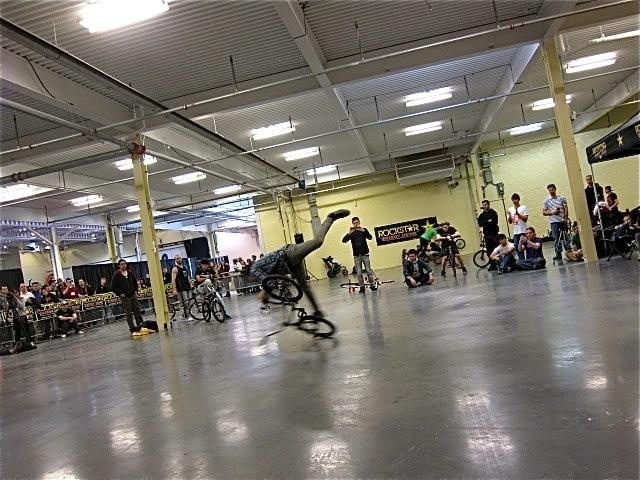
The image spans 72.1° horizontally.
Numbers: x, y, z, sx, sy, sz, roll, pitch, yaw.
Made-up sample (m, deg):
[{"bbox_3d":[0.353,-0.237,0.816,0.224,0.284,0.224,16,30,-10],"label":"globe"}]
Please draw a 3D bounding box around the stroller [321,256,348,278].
[{"bbox_3d":[0.638,1.376,22.311,1.443,0.824,0.794,-2,1,0],"label":"stroller"}]

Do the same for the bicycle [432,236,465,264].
[{"bbox_3d":[5.864,0.547,20.180,1.520,1.387,2.316,-3,1,3],"label":"bicycle"}]

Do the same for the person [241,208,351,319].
[{"bbox_3d":[-0.343,0.464,6.696,1.550,1.643,0.455,-11,1,22],"label":"person"}]
